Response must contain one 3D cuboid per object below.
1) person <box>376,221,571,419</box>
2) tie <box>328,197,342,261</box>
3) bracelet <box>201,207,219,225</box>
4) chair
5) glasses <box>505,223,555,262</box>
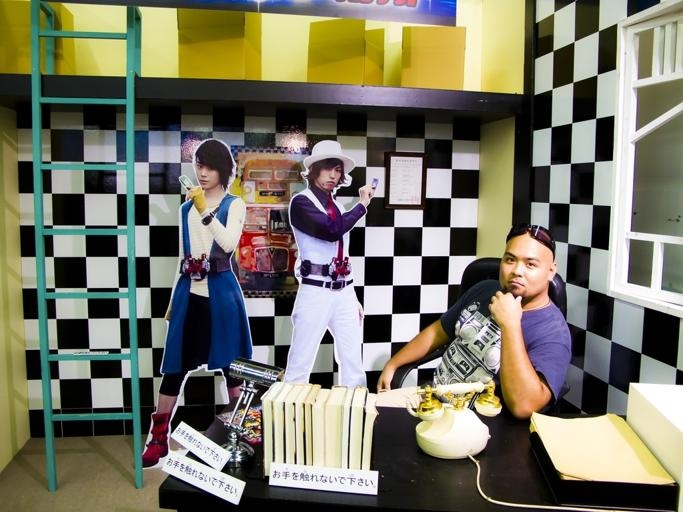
[{"bbox_3d":[0.762,0.255,3.173,0.524,0.857,0.848,-6,10,-36],"label":"person"},{"bbox_3d":[-0.039,-0.178,4.068,0.095,0.418,0.047,-1,8,-5],"label":"tie"},{"bbox_3d":[-0.851,-0.265,3.982,0.063,0.056,0.120,14,45,14],"label":"bracelet"},{"bbox_3d":[0.693,0.671,3.799,0.728,1.220,0.728,-10,-11,29],"label":"chair"},{"bbox_3d":[0.939,-0.066,3.064,0.204,0.220,0.065,4,3,22],"label":"glasses"}]
